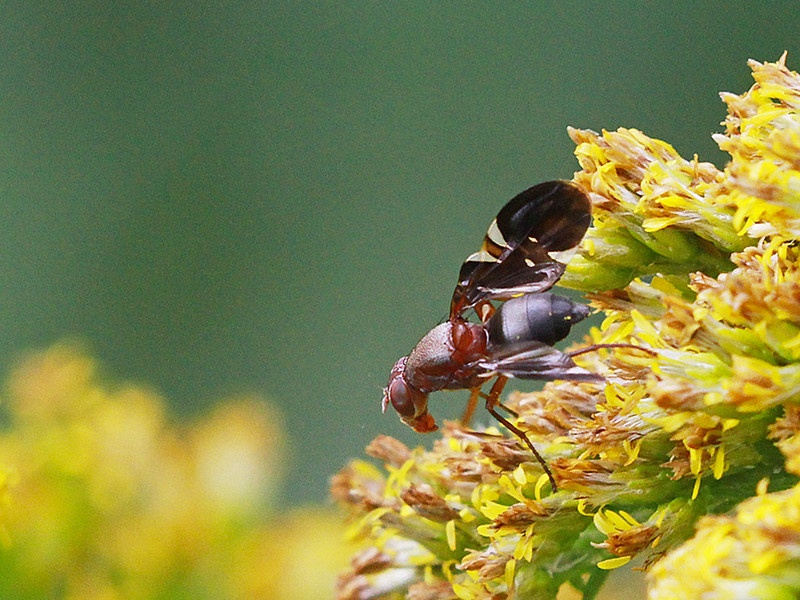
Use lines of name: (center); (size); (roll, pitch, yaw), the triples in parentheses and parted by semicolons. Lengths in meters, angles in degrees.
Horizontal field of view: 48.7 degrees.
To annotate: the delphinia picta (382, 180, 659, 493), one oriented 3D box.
delphinia picta: (0.193, 0.056, 1.114); (0.322, 0.354, 0.125); (-37, -45, 27)
